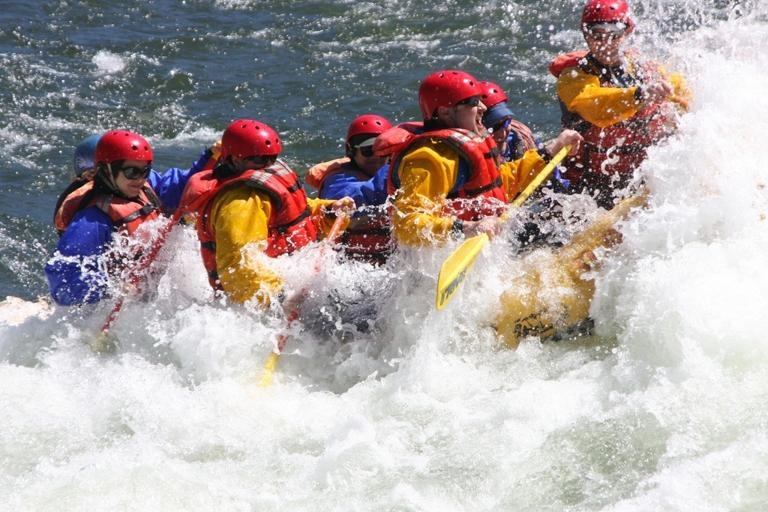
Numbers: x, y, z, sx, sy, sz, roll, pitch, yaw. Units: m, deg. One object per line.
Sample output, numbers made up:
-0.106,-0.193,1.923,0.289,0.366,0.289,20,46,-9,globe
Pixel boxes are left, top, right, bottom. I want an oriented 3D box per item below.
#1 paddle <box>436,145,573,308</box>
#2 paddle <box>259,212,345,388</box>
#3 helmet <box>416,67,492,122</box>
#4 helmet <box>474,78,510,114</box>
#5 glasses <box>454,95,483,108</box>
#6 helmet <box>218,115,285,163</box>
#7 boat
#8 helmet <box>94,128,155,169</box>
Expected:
0.995,-0.223,9.003,2.026,0.168,0.173,-47,25,-25,paddle
-0.723,0.435,9.082,1.766,0.195,0.193,-56,21,-14,paddle
0.587,-1.429,9.111,0.566,0.385,0.397,4,24,13,helmet
1.041,-1.537,10.101,0.275,0.294,0.346,7,12,25,helmet
0.714,-1.306,8.987,0.151,0.108,0.053,-15,85,21,glasses
-1.182,-1.006,9.362,0.531,0.380,0.382,25,27,21,helmet
1.878,0.104,8.879,2.164,0.499,0.587,-29,31,4,boat
-2.409,-0.907,9.668,0.539,0.390,0.371,5,80,27,helmet
